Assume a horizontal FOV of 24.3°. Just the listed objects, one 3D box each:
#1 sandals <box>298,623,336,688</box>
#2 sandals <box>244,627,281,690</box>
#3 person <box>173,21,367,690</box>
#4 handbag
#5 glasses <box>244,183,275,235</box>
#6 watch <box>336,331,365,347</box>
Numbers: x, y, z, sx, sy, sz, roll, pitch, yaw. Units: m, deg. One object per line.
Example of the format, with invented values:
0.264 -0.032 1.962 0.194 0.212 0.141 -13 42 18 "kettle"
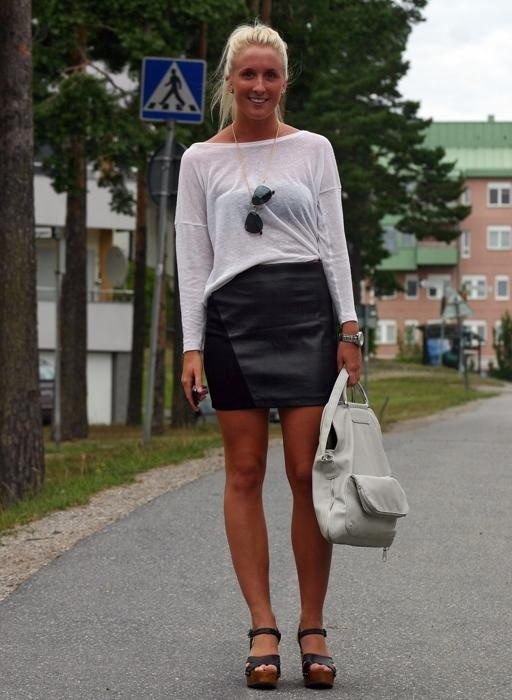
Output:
0.178 0.900 3.472 0.108 0.131 0.206 -1 1 2 "sandals"
0.020 0.897 3.457 0.102 0.138 0.176 -1 1 0 "sandals"
0.053 -0.022 3.612 0.472 1.618 0.554 -2 1 -24 "person"
0.306 0.317 3.447 0.233 0.407 0.206 -2 1 -27 "handbag"
0.011 -0.417 3.552 0.087 0.119 0.034 -1 1 21 "glasses"
0.292 -0.023 3.566 0.052 0.032 0.053 -4 -10 31 "watch"
